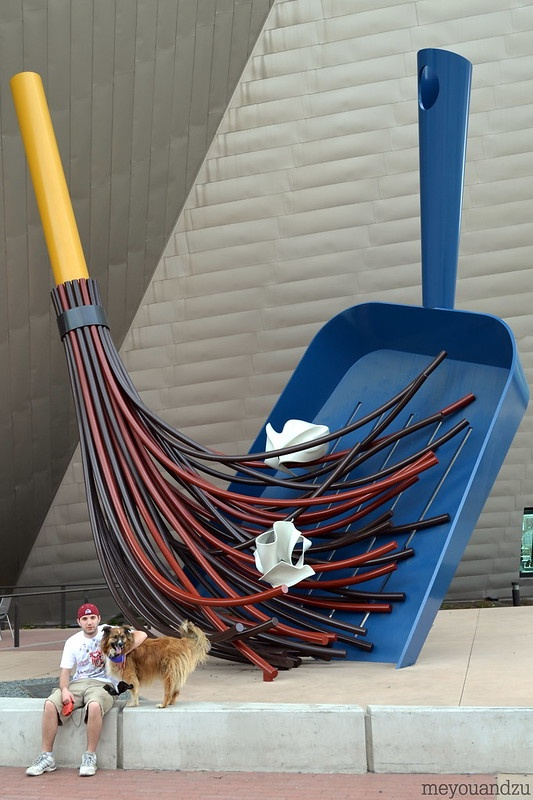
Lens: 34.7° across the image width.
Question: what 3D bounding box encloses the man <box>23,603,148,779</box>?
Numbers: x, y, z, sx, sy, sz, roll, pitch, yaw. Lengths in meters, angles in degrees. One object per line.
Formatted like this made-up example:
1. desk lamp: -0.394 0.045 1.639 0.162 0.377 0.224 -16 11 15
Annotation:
1. man: -0.936 1.518 4.545 0.540 0.745 0.624 -2 -1 16

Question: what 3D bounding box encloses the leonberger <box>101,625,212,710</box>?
1. leonberger: -0.662 1.483 4.768 0.314 0.433 0.743 -9 -17 44

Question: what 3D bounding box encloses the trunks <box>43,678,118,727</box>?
1. trunks: -0.953 1.575 4.528 0.226 0.242 0.077 -7 33 4

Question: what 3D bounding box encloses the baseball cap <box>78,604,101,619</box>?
1. baseball cap: -1.007 1.183 4.815 0.152 0.095 0.185 -1 -22 -7

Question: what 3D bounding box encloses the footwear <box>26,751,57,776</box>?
1. footwear: -1.160 1.883 4.423 0.071 0.075 0.176 -12 -8 29

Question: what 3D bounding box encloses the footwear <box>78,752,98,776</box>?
1. footwear: -0.906 1.845 4.316 0.071 0.088 0.106 4 11 -6
